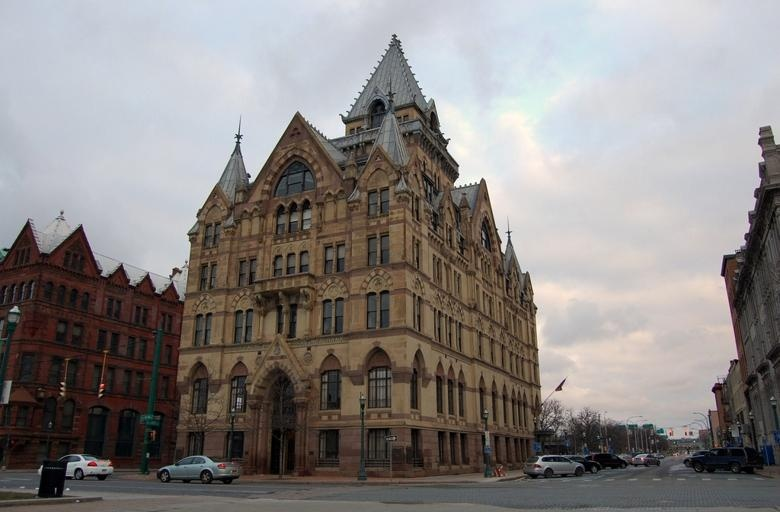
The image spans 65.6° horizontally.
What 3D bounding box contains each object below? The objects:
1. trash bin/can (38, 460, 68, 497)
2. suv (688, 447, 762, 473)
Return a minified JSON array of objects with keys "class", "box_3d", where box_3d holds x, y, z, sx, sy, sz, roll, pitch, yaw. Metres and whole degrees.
[{"class":"trash bin/can","box_3d":[-18.965,12.541,34.048,1.276,1.963,0.969,11,-28,-26]},{"class":"suv","box_3d":[33.804,20.568,60.835,2.244,2.804,6.668,7,-27,-19]}]
